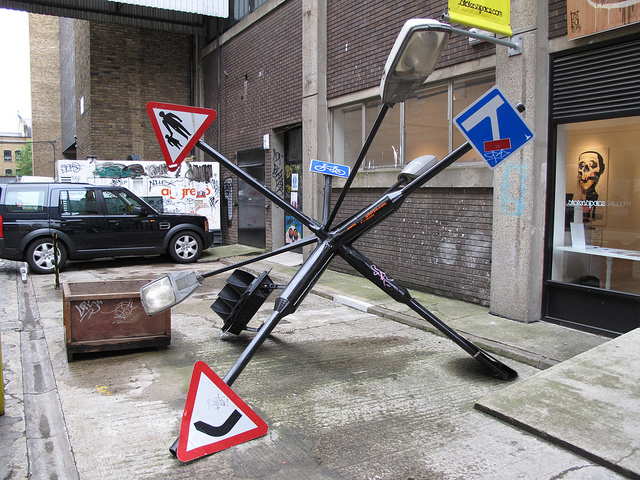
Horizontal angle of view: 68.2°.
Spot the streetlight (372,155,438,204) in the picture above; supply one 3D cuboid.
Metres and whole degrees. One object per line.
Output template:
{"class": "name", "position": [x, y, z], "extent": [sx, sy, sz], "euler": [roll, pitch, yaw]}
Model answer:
{"class": "streetlight", "position": [1.084, -0.770, 5.599], "extent": [0.554, 0.424, 0.484], "euler": [1, 9, 14]}

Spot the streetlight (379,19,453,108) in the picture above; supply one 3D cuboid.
{"class": "streetlight", "position": [0.845, -1.632, 4.550], "extent": [0.501, 0.243, 0.938], "euler": [4, -24, -10]}

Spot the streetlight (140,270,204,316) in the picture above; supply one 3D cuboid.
{"class": "streetlight", "position": [-1.541, 0.538, 4.853], "extent": [0.660, 0.344, 0.172], "euler": [-25, -5, -9]}
